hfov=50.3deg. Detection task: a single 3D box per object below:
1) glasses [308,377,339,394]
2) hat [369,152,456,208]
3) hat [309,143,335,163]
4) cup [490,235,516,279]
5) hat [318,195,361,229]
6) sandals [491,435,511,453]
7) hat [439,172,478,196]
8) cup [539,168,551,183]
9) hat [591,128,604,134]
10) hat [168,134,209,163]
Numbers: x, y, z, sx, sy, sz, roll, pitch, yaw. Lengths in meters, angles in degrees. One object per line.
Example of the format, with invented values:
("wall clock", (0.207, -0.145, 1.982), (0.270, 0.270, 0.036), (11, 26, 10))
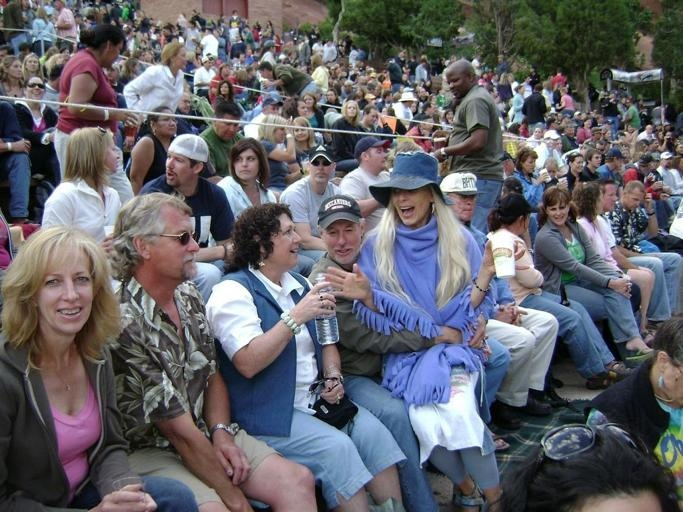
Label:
("glasses", (-0.105, 0.839, 4.698), (0.160, 0.112, 0.123), (12, 10, 27))
("hat", (0.504, -0.598, 5.230), (0.390, 0.284, 0.513), (4, 5, 24))
("hat", (-0.177, -0.937, 6.682), (0.209, 0.169, 0.182), (7, 9, -6))
("cup", (1.042, -0.010, 4.695), (0.174, 0.291, 0.232), (9, 9, 12))
("hat", (-0.010, -0.317, 5.124), (0.328, 0.247, 0.450), (-8, -2, 1))
("sandals", (1.236, 1.437, 5.600), (0.097, 0.045, 0.130), (8, 11, 18))
("hat", (1.033, -0.633, 6.419), (0.252, 0.174, 0.365), (1, -3, -3))
("cup", (2.878, -1.097, 10.132), (0.071, 0.223, 0.165), (-17, 42, 17))
("hat", (5.221, -2.579, 14.740), (0.243, 0.091, 0.242), (-1, -1, -35))
("hat", (-1.214, -0.867, 5.837), (0.283, 0.152, 0.200), (20, 0, -9))
